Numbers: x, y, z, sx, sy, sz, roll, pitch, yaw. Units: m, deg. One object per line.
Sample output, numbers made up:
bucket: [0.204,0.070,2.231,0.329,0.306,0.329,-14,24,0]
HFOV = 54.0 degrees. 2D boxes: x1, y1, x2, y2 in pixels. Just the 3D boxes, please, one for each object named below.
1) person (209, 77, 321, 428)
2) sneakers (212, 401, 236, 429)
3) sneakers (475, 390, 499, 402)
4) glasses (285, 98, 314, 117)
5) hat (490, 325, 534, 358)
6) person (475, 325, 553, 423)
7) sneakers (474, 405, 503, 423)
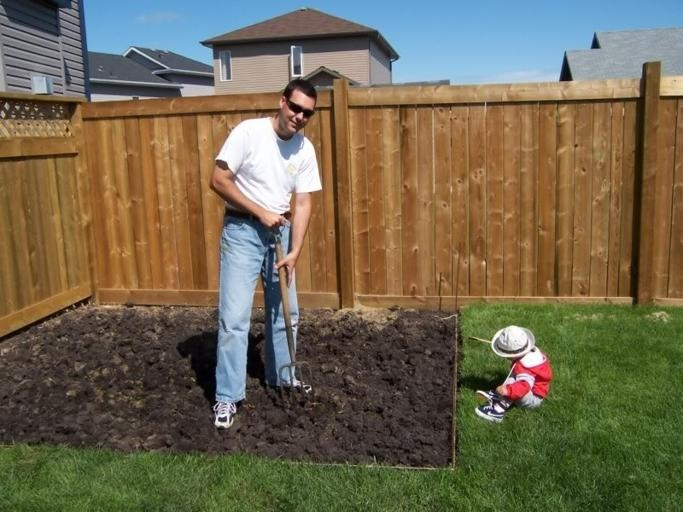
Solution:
person: [-0.664,-0.049,5.692,0.889,2.848,0.603,-1,7,-17]
sneakers: [-0.976,1.300,5.603,0.196,0.196,0.267,0,8,-11]
sneakers: [1.203,1.146,5.531,0.204,0.077,0.092,15,52,3]
glasses: [-0.326,-1.184,5.383,0.246,0.135,0.072,-3,9,-31]
hat: [1.393,0.693,5.521,0.277,0.112,0.271,-3,32,34]
person: [1.469,1.007,5.621,0.648,0.851,0.502,-17,25,-40]
sneakers: [1.198,1.249,5.443,0.203,0.100,0.100,18,13,19]
